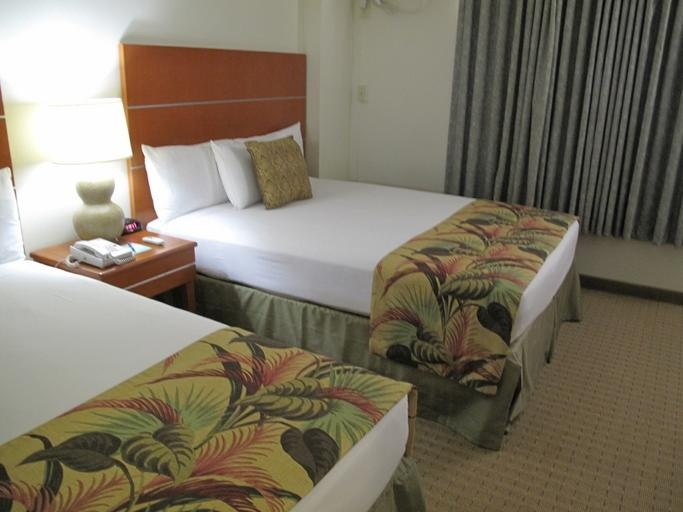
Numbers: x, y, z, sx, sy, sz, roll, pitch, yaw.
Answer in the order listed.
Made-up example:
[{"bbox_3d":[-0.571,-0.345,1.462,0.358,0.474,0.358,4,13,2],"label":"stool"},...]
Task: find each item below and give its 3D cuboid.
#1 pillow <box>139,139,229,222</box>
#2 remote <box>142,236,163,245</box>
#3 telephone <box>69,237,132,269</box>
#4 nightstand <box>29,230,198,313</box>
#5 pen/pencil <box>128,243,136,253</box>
[{"bbox_3d":[-1.102,-0.509,3.610,0.468,0.391,0.162,-19,-7,-46],"label":"pillow"},{"bbox_3d":[-1.156,-0.102,3.250,0.121,0.032,0.066,17,26,26],"label":"remote"},{"bbox_3d":[-1.350,-0.024,2.951,0.247,0.100,0.186,12,23,19],"label":"telephone"},{"bbox_3d":[-1.296,0.027,3.143,0.566,0.607,0.591,17,27,23],"label":"nightstand"},{"bbox_3d":[-1.226,-0.048,3.072,0.020,0.014,0.111,12,15,-40],"label":"pen/pencil"}]
